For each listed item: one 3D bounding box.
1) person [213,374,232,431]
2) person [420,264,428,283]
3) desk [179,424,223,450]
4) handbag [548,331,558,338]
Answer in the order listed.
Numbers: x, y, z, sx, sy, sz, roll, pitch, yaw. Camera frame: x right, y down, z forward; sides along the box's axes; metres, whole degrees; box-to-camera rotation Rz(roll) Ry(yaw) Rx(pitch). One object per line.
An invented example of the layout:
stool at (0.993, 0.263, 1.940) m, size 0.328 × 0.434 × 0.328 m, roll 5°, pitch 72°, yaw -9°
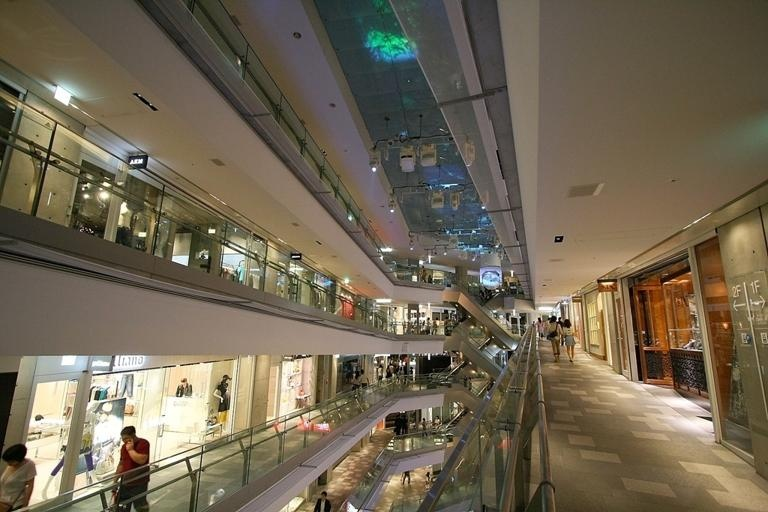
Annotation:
person at (-4.123, 3.749, 10.914) m, size 0.243 × 1.434 × 0.535 m, roll -2°, pitch -5°, yaw 11°
person at (2.013, 0.901, 21.399) m, size 0.325 × 0.766 × 0.624 m, roll -3°, pitch -5°, yaw 21°
desk at (-4.387, 4.367, 10.507) m, size 0.308 × 0.396 × 1.086 m, roll -5°, pitch -6°, yaw 40°
handbag at (5.511, 2.552, 13.850) m, size 0.297 × 0.180 × 0.282 m, roll -4°, pitch -10°, yaw -4°
